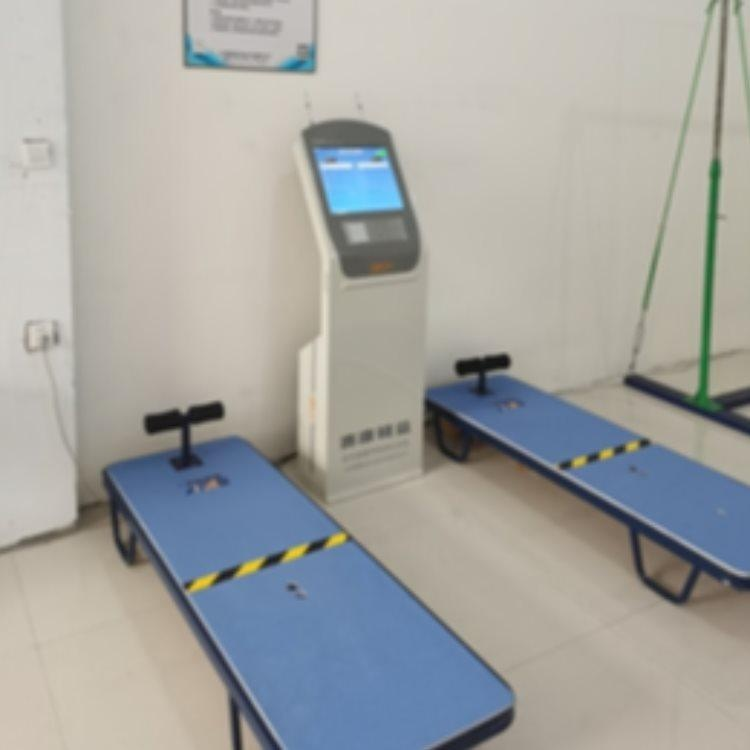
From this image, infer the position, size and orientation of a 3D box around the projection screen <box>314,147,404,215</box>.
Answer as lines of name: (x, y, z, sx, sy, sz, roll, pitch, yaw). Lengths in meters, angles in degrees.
projection screen: (-0.055, -0.727, 2.684, 0.344, 0.226, 0.126, -12, 22, -30)
